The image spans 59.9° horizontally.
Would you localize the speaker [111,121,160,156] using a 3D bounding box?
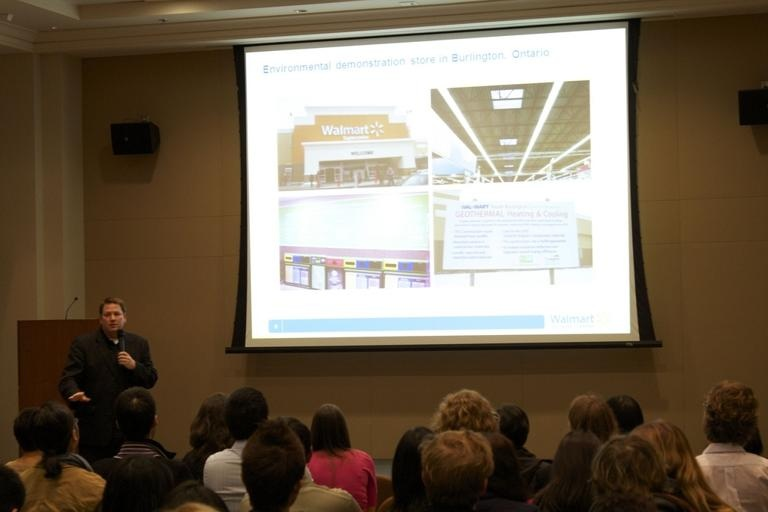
[{"bbox_3d":[-2.632,-1.248,7.015,0.382,0.304,0.386,0,-1,5],"label":"speaker"}]
